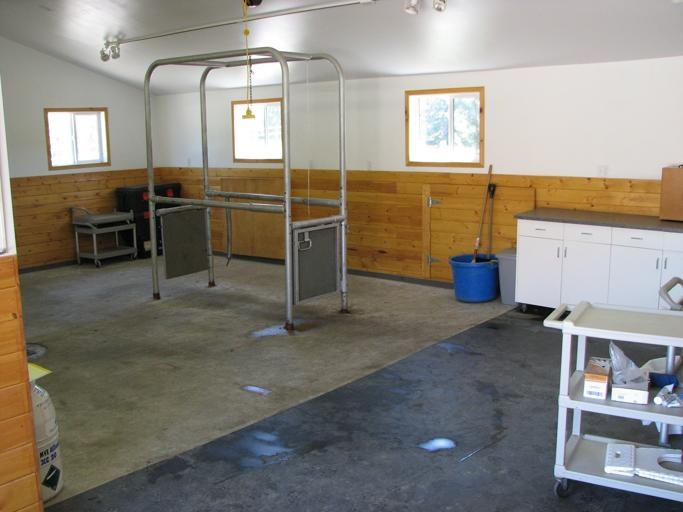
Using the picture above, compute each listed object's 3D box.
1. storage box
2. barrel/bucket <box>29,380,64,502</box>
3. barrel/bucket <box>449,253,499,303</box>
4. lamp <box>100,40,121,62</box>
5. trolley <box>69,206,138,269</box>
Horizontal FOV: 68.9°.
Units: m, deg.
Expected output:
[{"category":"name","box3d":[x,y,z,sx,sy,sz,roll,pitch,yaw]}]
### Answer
[{"category":"storage box","box3d":[-3.009,-0.508,7.649,1.017,1.215,1.382,0,4,6]},{"category":"barrel/bucket","box3d":[-1.620,1.008,2.723,0.107,0.684,0.269,-8,16,-21]},{"category":"barrel/bucket","box3d":[1.676,0.296,6.112,0.682,0.461,0.695,-2,6,0]},{"category":"lamp","box3d":[-3.228,-2.872,6.984,0.349,0.280,0.124,2,-5,-10]},{"category":"trolley","box3d":[-3.973,-0.304,8.249,0.647,0.937,1.032,5,10,32]}]
